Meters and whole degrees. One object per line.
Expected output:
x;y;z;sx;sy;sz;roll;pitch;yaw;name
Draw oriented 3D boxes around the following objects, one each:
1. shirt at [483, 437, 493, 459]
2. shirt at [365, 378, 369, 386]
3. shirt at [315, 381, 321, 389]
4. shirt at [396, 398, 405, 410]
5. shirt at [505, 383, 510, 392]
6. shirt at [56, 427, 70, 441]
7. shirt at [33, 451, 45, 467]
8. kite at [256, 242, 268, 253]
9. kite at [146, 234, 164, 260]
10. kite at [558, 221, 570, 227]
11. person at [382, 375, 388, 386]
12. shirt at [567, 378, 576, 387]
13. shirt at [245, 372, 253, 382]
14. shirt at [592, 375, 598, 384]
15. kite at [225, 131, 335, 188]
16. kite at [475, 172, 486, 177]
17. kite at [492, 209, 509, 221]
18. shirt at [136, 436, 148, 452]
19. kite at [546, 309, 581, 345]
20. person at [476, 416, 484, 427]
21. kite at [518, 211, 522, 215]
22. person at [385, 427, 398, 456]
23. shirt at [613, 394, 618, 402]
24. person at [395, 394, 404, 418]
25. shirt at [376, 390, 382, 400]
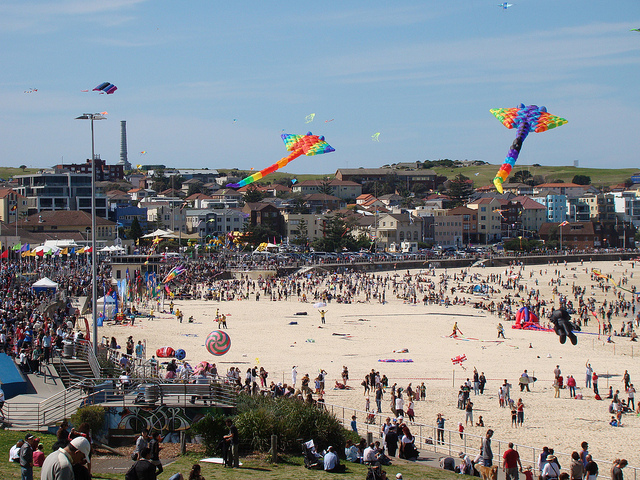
8.925;11.099;83.423;0.494;1.113;0.454;0;-1;36;shirt
2.925;8.613;94.730;0.124;0.492;0.372;3;4;13;shirt
-0.029;8.746;94.293;0.164;0.465;0.563;1;-1;-18;shirt
4.727;9.611;91.644;0.639;0.656;0.372;4;10;14;shirt
11.334;8.878;94.074;0.188;0.538;0.599;0;-1;7;shirt
-12.837;9.852;79.190;0.544;0.527;0.881;1;-1;-11;shirt
-14.230;11.193;79.946;0.833;0.759;0.468;2;5;5;shirt
-5.741;0.850;161.603;1.023;0.856;3.340;1;-1;-2;kite
-14.798;0.654;141.606;1.094;2.672;0.080;28;-10;1;kite
28.082;-1.760;179.417;0.456;0.612;1.478;-29;5;23;kite
4.042;8.608;95.808;0.269;0.586;0.789;1;-1;2;person
15.437;8.726;95.957;0.673;0.583;0.380;0;16;7;shirt
-4.218;8.370;95.524;0.350;0.598;0.586;2;-2;0;shirt
16.940;8.572;96.282;0.456;0.482;0.434;-1;3;0;shirt
-1.948;-5.407;103.416;3.937;0.648;6.483;16;-29;-32;kite
29.537;-11.905;287.458;1.656;0.413;5.172;-9;0;13;kite
21.313;-2.885;184.179;1.120;1.305;4.043;0;-1;16;kite
-9.009;10.522;80.485;0.537;0.817;1.097;1;-1;-8;shirt
14.234;4.856;93.198;0.667;1.717;0.748;-17;-6;-28;kite
9.371;10.580;91.120;0.435;0.620;1.181;0;-1;6;person
24.392;-3.226;189.893;0.262;0.353;0.141;0;-13;-3;kite
3.942;10.989;84.761;0.581;1.306;0.772;0;-1;15;person
17.793;9.525;94.308;0.221;0.439;0.561;0;-1;10;shirt
4.738;9.737;91.941;0.518;1.235;1.287;1;-1;3;person
3.554;9.121;92.384;0.295;0.566;0.590;1;-1;1;shirt
